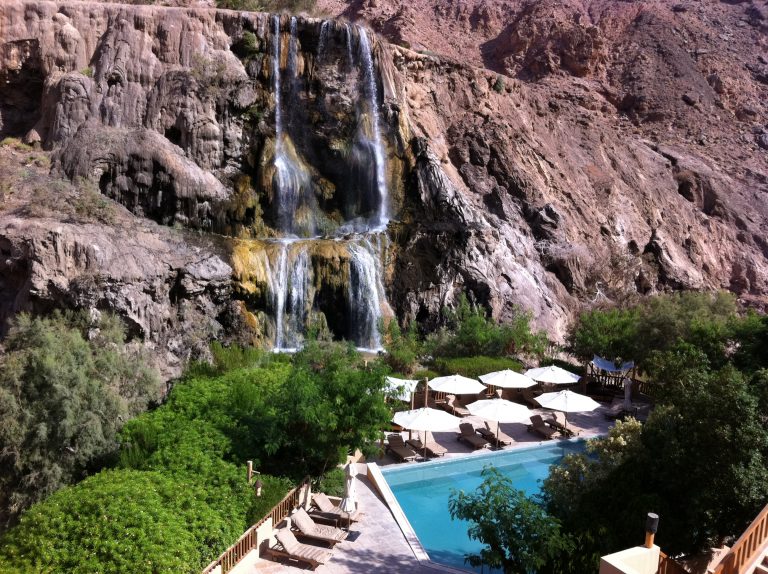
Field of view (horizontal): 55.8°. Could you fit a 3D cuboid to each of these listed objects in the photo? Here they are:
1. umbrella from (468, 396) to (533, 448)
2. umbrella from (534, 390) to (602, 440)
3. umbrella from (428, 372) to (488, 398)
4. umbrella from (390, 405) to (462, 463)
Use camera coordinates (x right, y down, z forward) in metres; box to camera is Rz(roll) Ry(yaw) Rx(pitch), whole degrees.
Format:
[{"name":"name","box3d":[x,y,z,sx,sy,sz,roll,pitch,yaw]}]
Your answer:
[{"name":"umbrella","box3d":[4.517,5.637,28.105,1.906,1.615,2.098,-13,26,-29]},{"name":"umbrella","box3d":[7.297,4.503,29.060,2.150,1.827,2.202,14,16,41]},{"name":"umbrella","box3d":[2.973,4.087,30.217,1.262,0.620,1.348,6,12,40]},{"name":"umbrella","box3d":[1.691,5.762,27.041,2.026,2.089,2.048,-20,30,-40]}]
